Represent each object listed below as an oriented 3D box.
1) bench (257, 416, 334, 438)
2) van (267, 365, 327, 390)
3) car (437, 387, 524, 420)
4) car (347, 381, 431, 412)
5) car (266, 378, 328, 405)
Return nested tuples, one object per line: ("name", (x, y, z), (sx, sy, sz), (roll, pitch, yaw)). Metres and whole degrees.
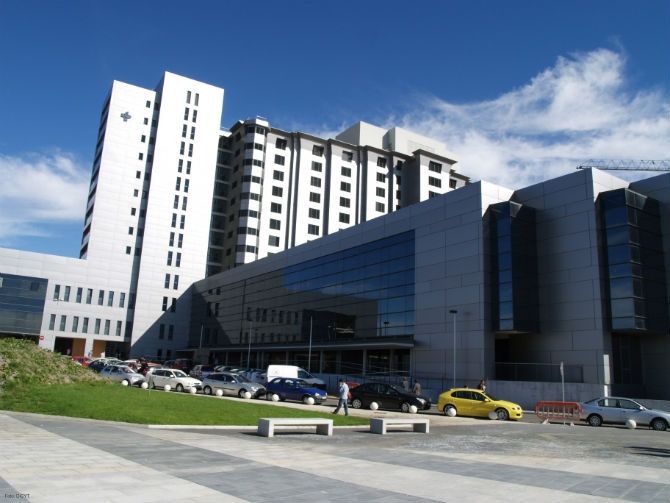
("bench", (-1.324, 6.206, 19.142), (2.645, 0.605, 1.192), (11, -16, -31))
("van", (-3.119, 9.864, 41.826), (4.769, 1.854, 2.449), (-1, -8, -7))
("car", (8.491, 8.903, 31.791), (4.512, 1.208, 1.951), (-7, -14, 30))
("car", (3.269, 8.990, 33.765), (4.751, 1.164, 2.075), (-7, -16, 31))
("car", (-2.552, 9.254, 35.996), (3.895, 1.200, 1.717), (-3, -11, 22))
